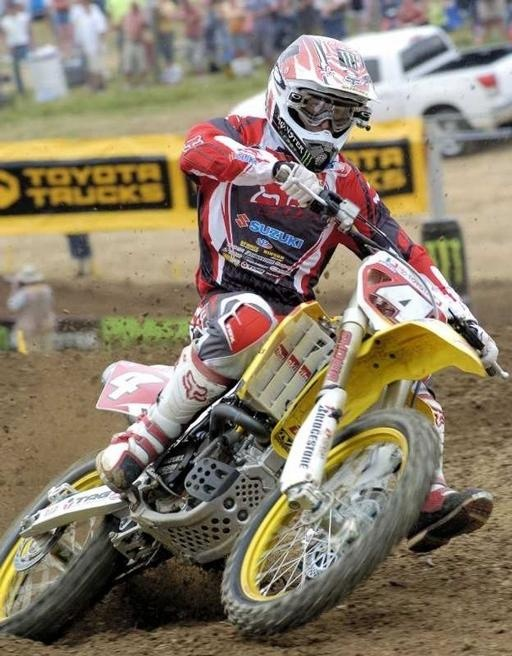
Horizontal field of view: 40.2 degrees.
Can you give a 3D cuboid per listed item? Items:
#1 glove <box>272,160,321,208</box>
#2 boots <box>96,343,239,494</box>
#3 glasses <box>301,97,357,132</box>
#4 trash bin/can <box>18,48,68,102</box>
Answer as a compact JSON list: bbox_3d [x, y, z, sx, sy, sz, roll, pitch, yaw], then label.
[{"bbox_3d":[0.117,-0.437,2.105,0.173,0.099,0.075,34,60,16],"label":"glove"},{"bbox_3d":[-0.336,0.372,2.468,0.244,0.652,0.316,38,14,-36],"label":"boots"},{"bbox_3d":[0.239,-0.710,2.303,0.190,0.072,0.126,-8,-6,-4],"label":"glasses"},{"bbox_3d":[-1.314,-1.567,4.289,0.232,0.296,0.184,-17,38,-2],"label":"trash bin/can"}]
